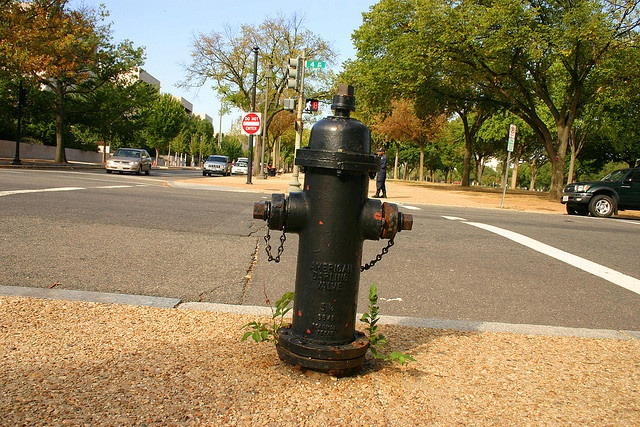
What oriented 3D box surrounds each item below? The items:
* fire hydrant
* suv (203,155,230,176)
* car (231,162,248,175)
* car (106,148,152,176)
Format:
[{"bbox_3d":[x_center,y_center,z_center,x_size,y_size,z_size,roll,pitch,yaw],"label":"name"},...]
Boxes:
[{"bbox_3d":[0.095,0.098,4.242,1.150,2.355,0.607,2,7,-8],"label":"fire hydrant"},{"bbox_3d":[-8.701,-3.970,42.600,1.989,1.593,3.519,2,8,-13],"label":"suv"},{"bbox_3d":[-7.757,-4.219,48.380,1.326,1.228,3.370,1,8,-15],"label":"car"},{"bbox_3d":[-11.412,-3.106,30.429,1.600,1.475,2.864,4,7,9],"label":"car"}]
